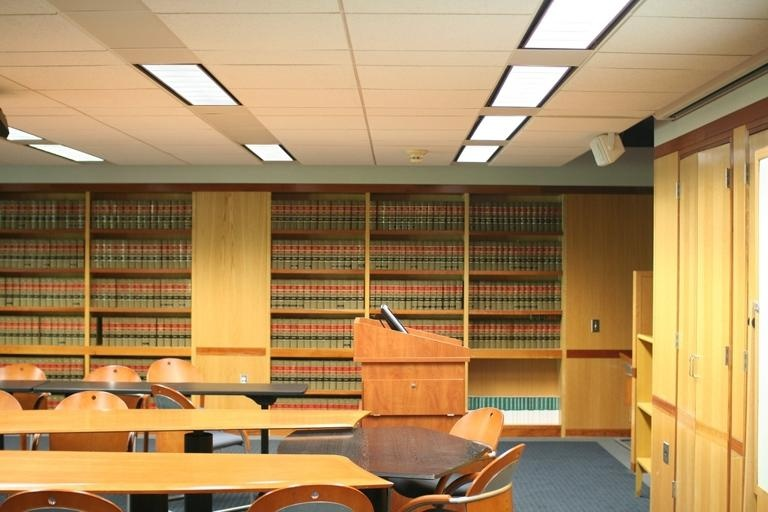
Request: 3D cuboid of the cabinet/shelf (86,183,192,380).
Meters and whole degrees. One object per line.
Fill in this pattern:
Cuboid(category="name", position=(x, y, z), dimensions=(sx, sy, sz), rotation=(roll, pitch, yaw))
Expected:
Cuboid(category="cabinet/shelf", position=(-3.039, 0.270, 7.954), dimensions=(1.262, 2.108, 0.639), rotation=(-1, -9, -11))

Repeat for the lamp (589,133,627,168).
Cuboid(category="lamp", position=(2.204, -1.037, 6.261), dimensions=(0.273, 0.256, 0.307), rotation=(-3, -7, 9))

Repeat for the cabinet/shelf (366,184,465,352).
Cuboid(category="cabinet/shelf", position=(0.424, 0.120, 7.863), dimensions=(1.229, 1.776, 0.377), rotation=(-2, -9, -2))
